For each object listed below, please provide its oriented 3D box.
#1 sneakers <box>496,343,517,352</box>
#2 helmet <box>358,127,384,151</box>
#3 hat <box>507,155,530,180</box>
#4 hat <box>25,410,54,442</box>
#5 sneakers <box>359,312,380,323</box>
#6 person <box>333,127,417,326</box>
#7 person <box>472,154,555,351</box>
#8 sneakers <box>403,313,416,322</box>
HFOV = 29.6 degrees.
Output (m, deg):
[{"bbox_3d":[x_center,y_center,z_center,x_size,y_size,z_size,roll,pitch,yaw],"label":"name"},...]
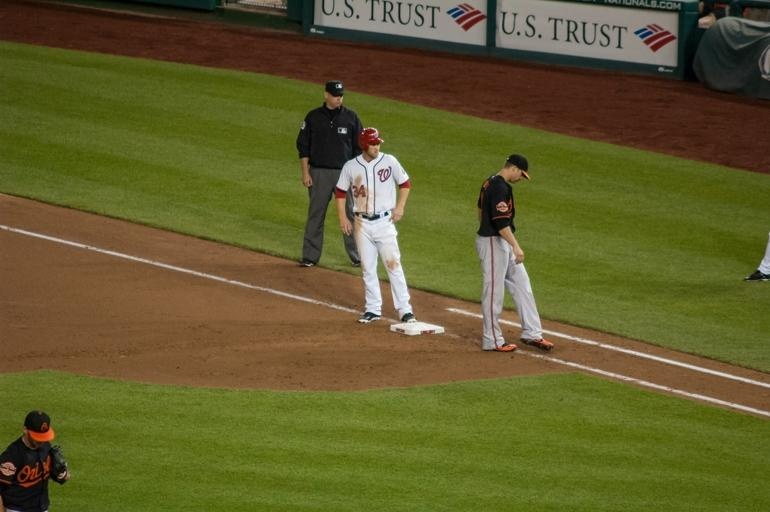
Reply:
[{"bbox_3d":[1.656,1.269,20.188,0.311,0.112,0.108,-9,23,-7],"label":"sneakers"},{"bbox_3d":[-0.252,-1.639,20.482,0.389,0.305,0.293,2,18,9],"label":"helmet"},{"bbox_3d":[1.820,-1.242,20.313,0.305,0.344,0.928,3,7,6],"label":"hat"},{"bbox_3d":[-4.162,2.002,17.190,0.322,0.375,0.281,0,9,-13],"label":"hat"},{"bbox_3d":[-0.279,0.880,20.677,0.344,0.109,0.127,-1,4,-34],"label":"sneakers"},{"bbox_3d":[-0.164,-0.426,20.630,1.206,2.730,0.548,3,9,2],"label":"person"},{"bbox_3d":[1.694,-0.022,19.971,0.949,2.702,0.501,3,9,2],"label":"person"},{"bbox_3d":[0.317,0.861,20.616,0.240,0.131,0.117,-2,9,-27],"label":"sneakers"}]
